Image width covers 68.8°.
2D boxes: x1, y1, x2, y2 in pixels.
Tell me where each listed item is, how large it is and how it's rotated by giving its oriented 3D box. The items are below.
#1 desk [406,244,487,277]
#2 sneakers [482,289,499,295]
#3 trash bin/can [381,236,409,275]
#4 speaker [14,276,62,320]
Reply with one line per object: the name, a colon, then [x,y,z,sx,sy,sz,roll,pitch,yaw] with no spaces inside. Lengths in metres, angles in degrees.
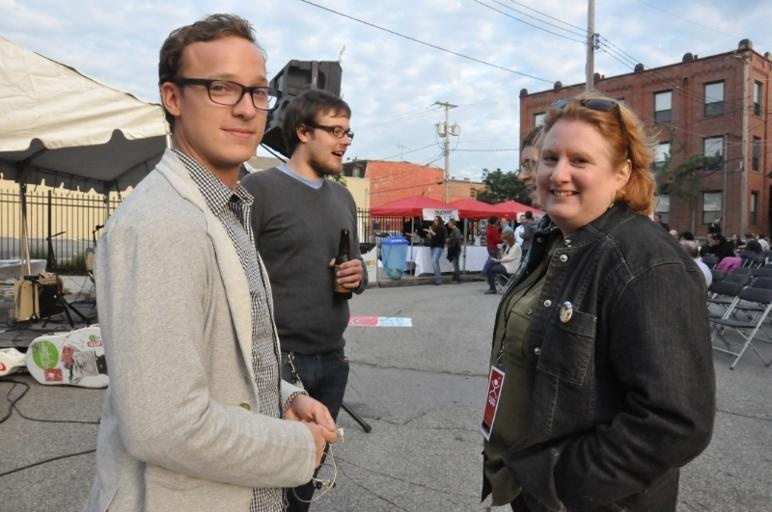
desk: [2.010,0.152,17.815,2.025,0.520,1.195,-3,6,-27]
sneakers: [2.619,0.887,13.919,0.347,0.132,0.123,5,-5,-30]
trash bin/can: [0.228,0.050,16.290,0.750,1.140,0.694,1,6,2]
speaker: [-4.967,0.593,8.031,0.400,0.723,0.577,9,10,35]
